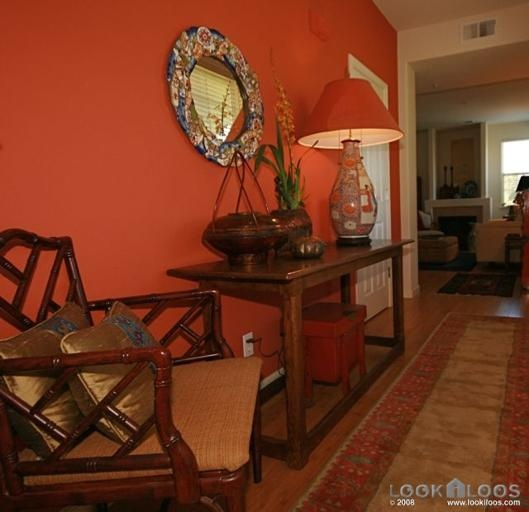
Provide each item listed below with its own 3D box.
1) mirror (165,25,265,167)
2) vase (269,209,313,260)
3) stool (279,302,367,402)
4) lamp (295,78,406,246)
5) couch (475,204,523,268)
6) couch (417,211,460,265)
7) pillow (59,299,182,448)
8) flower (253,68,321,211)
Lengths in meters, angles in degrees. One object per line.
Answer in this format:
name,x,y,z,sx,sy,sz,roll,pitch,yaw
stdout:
mirror,-0.203,-0.728,2.146,0.035,0.632,0.653,-5,3,35
vase,0.143,-0.119,2.339,0.166,0.220,0.222,3,8,38
stool,0.364,0.484,2.577,0.306,0.371,0.419,-1,7,36
lamp,0.505,-0.538,2.726,0.601,0.900,0.594,-1,5,18
couch,3.317,-0.284,6.659,0.574,0.598,0.873,1,3,26
couch,2.923,-0.373,7.963,0.697,0.870,0.993,7,14,37
pillow,-0.363,0.296,1.147,0.099,0.191,0.282,-21,13,8
flower,0.085,-0.622,2.590,0.252,0.740,0.810,-3,5,6
